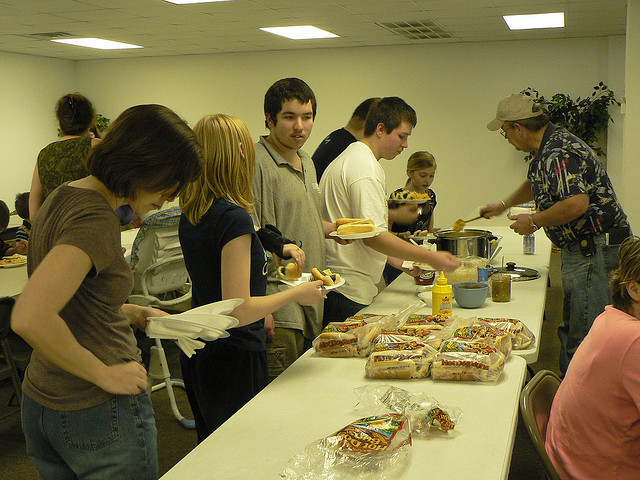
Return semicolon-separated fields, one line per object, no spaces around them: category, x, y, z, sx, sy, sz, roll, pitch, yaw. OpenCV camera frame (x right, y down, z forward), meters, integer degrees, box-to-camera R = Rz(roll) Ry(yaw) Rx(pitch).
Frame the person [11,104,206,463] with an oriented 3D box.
person;-0.558;0.135;1.315;0.492;0.961;0.257;-11;16;-36

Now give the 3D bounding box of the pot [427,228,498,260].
pot;0.812;0.036;2.761;0.302;0.167;0.356;1;12;10

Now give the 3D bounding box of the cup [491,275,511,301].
cup;0.867;0.229;2.334;0.107;0.121;0.112;0;-1;0

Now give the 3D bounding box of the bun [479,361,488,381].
bun;0.535;0.422;1.594;0.024;0.059;0.020;1;13;10

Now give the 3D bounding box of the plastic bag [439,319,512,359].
plastic bag;0.568;0.338;1.764;0.266;0.100;0.226;3;12;21

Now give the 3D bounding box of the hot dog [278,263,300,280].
hot dog;-0.135;0.132;2.044;0.095;0.069;0.061;0;4;9

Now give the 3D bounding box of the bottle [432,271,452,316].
bottle;0.538;0.238;2.150;0.080;0.170;0.175;1;13;13

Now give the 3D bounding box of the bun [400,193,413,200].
bun;0.543;-0.268;3.058;0.049;0.036;0.050;2;3;40

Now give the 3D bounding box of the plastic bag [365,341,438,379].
plastic bag;0.320;0.403;1.761;0.322;0.098;0.328;-9;0;15

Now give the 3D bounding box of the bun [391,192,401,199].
bun;0.490;-0.281;3.125;0.048;0.047;0.047;-7;13;-28

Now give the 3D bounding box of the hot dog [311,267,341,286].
hot dog;0.024;0.145;1.948;0.077;0.031;0.080;6;5;28

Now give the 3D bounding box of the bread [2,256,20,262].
bread;-2.314;0.134;3.616;0.146;0.027;0.096;3;13;20

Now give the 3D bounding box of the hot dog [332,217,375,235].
hot dog;0.165;-0.071;2.328;0.184;0.077;0.248;-2;12;-2

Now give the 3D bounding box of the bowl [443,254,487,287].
bowl;0.776;0.144;2.561;0.181;0.132;0.197;-1;-1;0

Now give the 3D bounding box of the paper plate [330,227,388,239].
paper plate;0.170;-0.029;2.253;0.266;0.053;0.166;0;12;7

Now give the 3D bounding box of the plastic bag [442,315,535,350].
plastic bag;0.685;0.333;1.884;0.195;0.064;0.171;1;6;15

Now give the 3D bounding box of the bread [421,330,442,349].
bread;0.409;0.357;1.778;0.052;0.017;0.056;6;18;24

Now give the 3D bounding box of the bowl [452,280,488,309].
bowl;0.706;0.258;2.285;0.163;0.107;0.119;-4;13;-14
